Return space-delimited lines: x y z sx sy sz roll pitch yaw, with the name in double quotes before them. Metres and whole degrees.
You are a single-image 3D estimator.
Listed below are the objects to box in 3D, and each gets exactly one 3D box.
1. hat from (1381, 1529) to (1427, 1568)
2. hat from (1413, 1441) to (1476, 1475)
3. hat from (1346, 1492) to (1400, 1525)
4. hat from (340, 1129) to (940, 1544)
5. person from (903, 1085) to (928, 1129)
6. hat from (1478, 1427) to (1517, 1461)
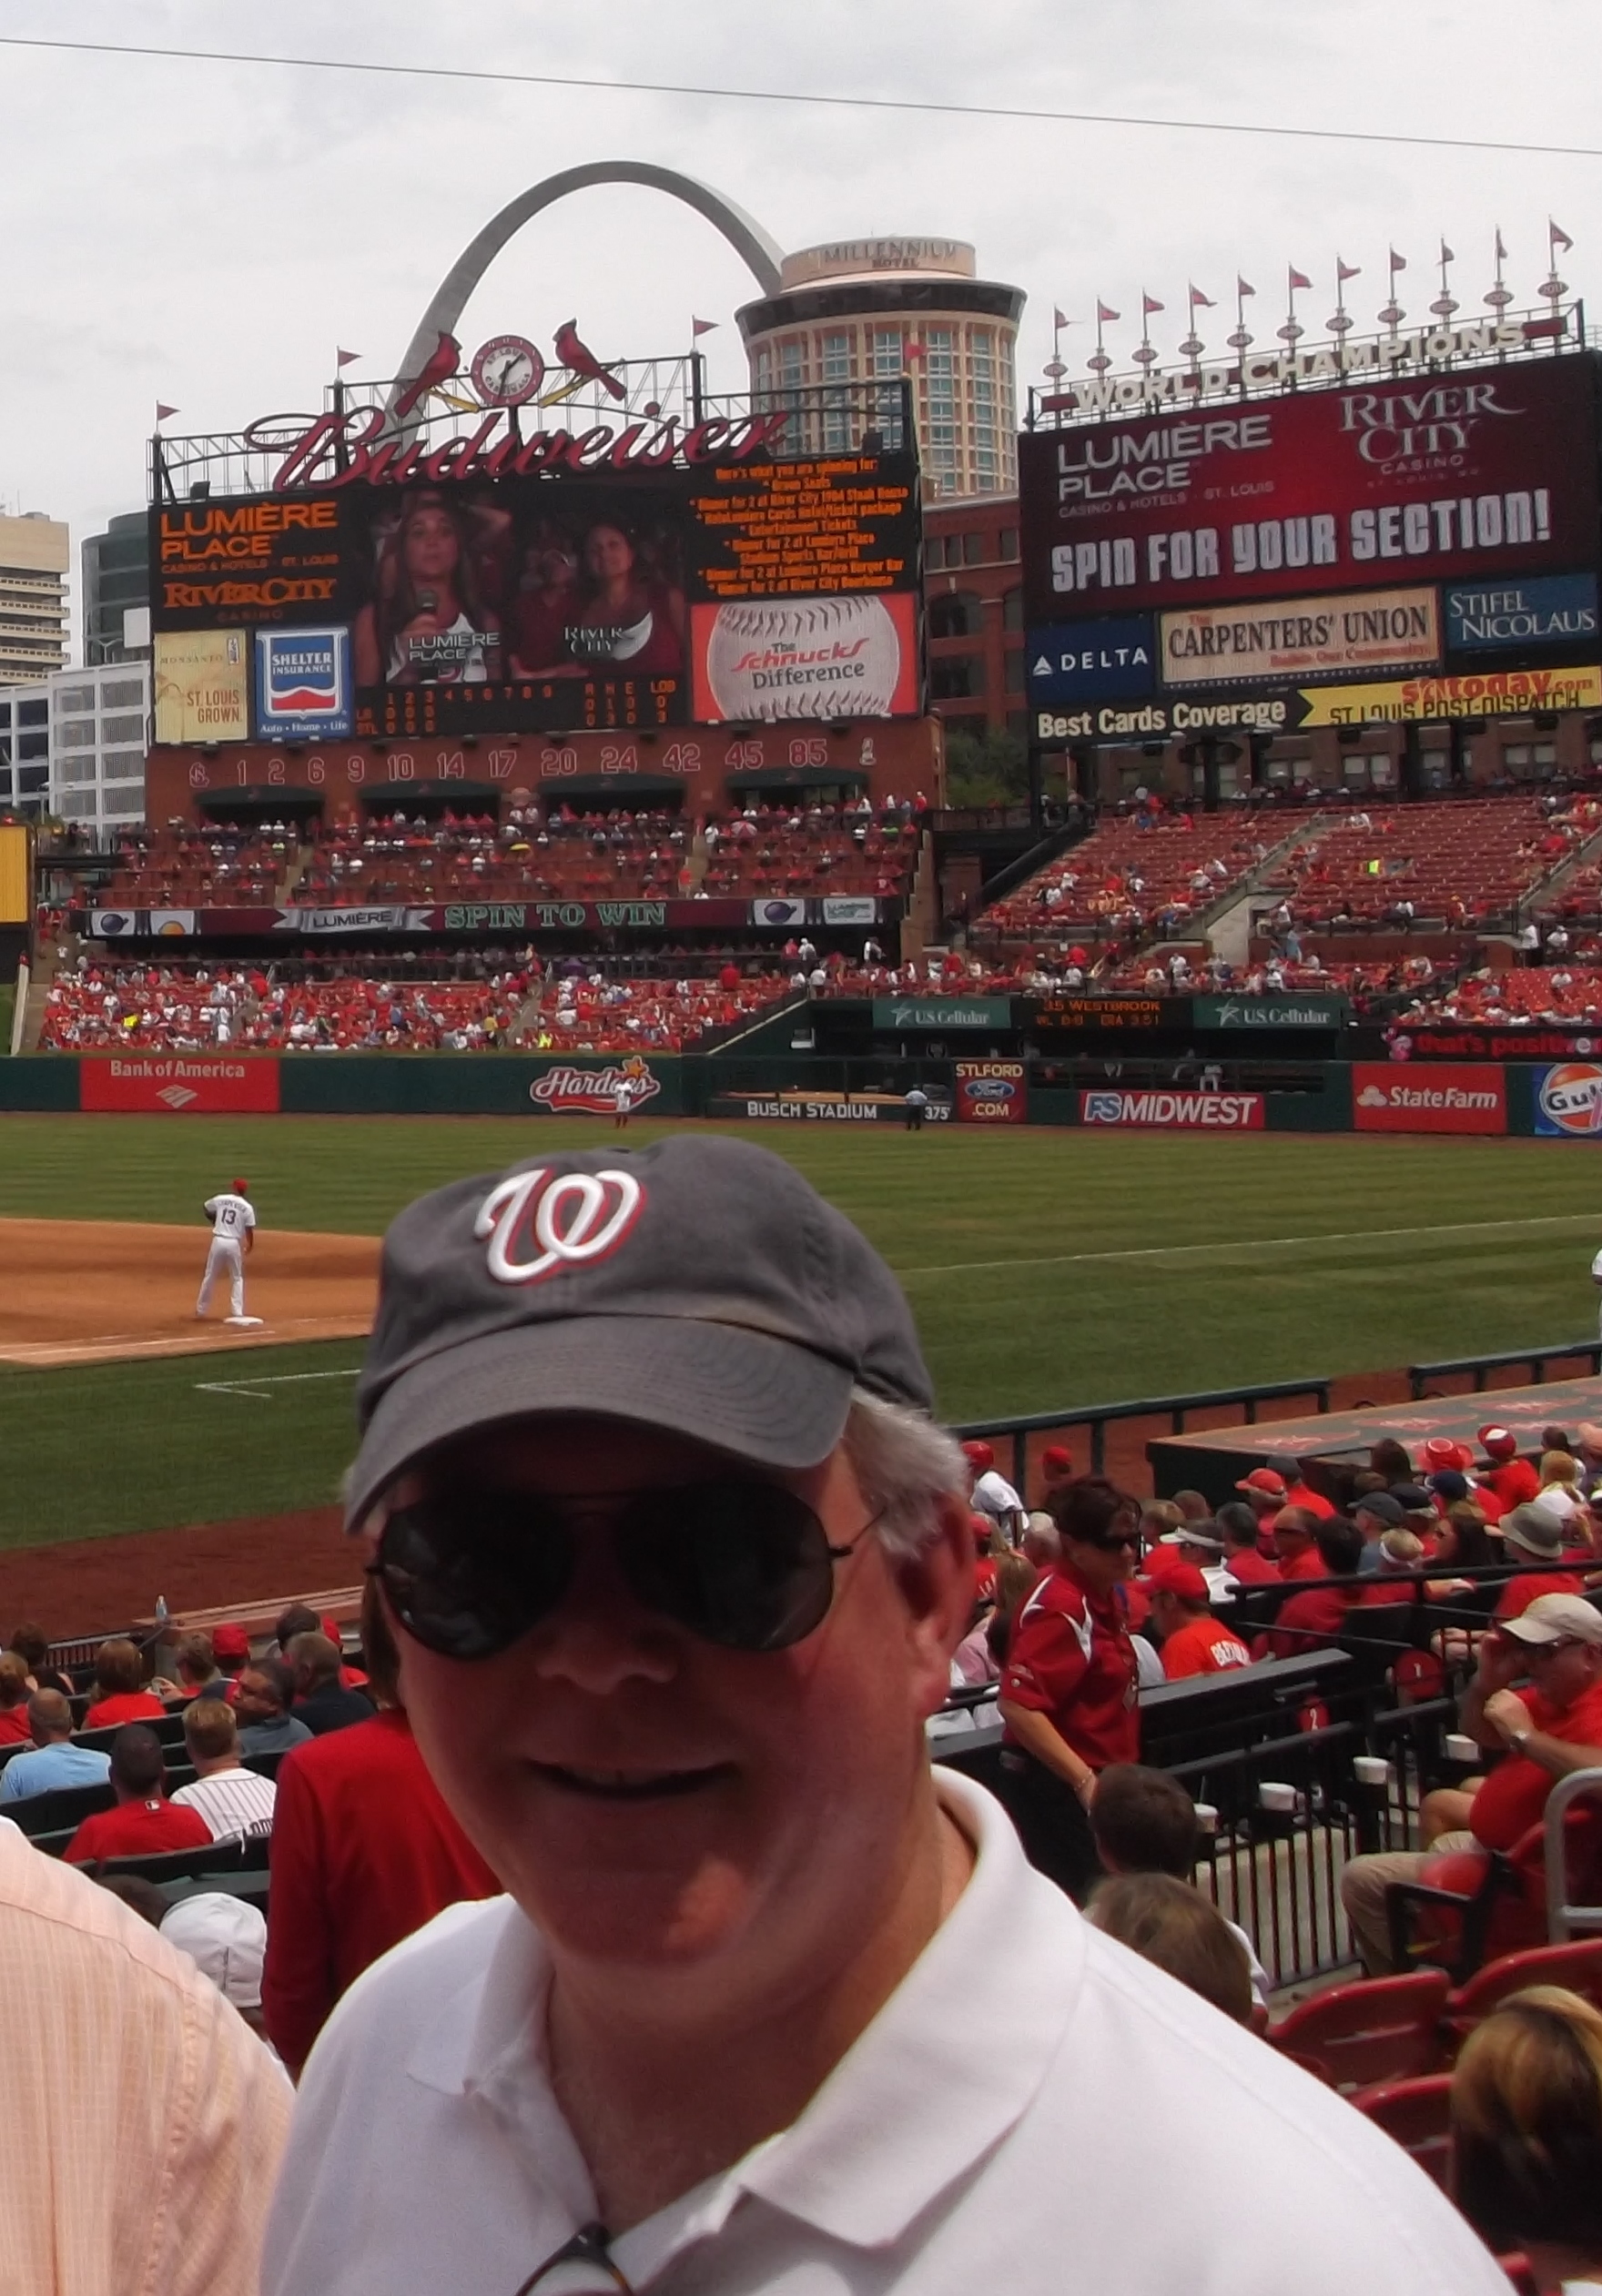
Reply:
"hat" 2.194 1.573 8.504 0.142 0.046 0.139 12 18 -38
"hat" 3.110 1.608 11.393 0.213 0.170 0.299 0 8 -12
"hat" 2.316 1.584 9.447 0.138 0.142 0.119 -41 -29 16
"hat" -0.122 0.128 1.583 0.370 0.259 0.514 -7 -12 1
"person" 2.346 -1.089 47.804 0.569 0.838 1.016 -2 1 3
"hat" 3.476 1.582 11.801 0.136 0.202 0.190 -12 -26 35
